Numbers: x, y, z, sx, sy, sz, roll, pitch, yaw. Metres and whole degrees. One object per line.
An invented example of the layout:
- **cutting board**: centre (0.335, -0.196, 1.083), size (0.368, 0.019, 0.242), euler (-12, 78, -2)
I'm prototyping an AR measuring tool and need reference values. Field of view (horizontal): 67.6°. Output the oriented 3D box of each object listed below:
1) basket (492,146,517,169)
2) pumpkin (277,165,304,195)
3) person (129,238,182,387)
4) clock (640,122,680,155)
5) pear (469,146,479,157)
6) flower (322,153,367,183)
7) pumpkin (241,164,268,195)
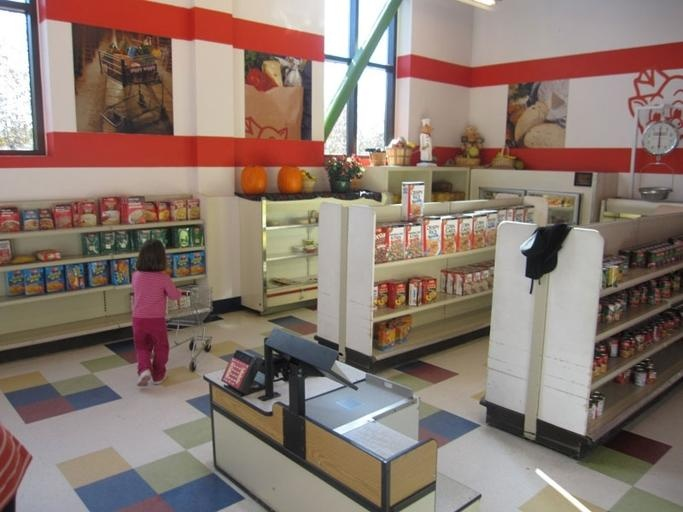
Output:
- **basket**: centre (3.142, -1.873, 9.764), size (0.490, 0.447, 0.211), euler (5, -8, 44)
- **pumpkin**: centre (-0.772, -1.141, 7.675), size (0.406, 0.409, 0.385), euler (-5, 13, -29)
- **person**: centre (-1.964, 0.604, 5.345), size (0.517, 1.532, 0.323), euler (-9, 13, -24)
- **clock**: centre (4.967, -1.840, 7.951), size (0.433, 0.572, 0.156), euler (6, 6, 43)
- **pear**: centre (2.584, -2.045, 10.046), size (0.219, 0.218, 0.210), euler (16, 32, 4)
- **flower**: centre (0.058, -1.431, 8.297), size (0.513, 0.322, 0.571), euler (1, 16, -11)
- **pumpkin**: centre (-1.284, -1.106, 7.390), size (0.391, 0.413, 0.405), euler (-2, 6, -20)
